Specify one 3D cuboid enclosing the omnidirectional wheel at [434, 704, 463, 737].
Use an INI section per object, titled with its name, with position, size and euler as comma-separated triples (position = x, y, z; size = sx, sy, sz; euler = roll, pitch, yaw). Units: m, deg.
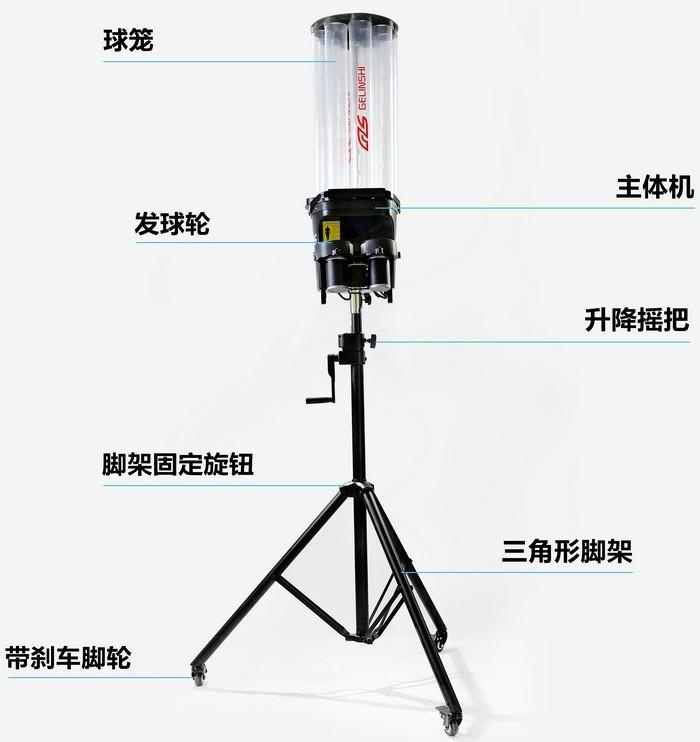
[omnidirectional wheel]
position = 0.340, 1.188, 3.466
size = 0.067, 0.112, 0.125
euler = -1, 13, -2
